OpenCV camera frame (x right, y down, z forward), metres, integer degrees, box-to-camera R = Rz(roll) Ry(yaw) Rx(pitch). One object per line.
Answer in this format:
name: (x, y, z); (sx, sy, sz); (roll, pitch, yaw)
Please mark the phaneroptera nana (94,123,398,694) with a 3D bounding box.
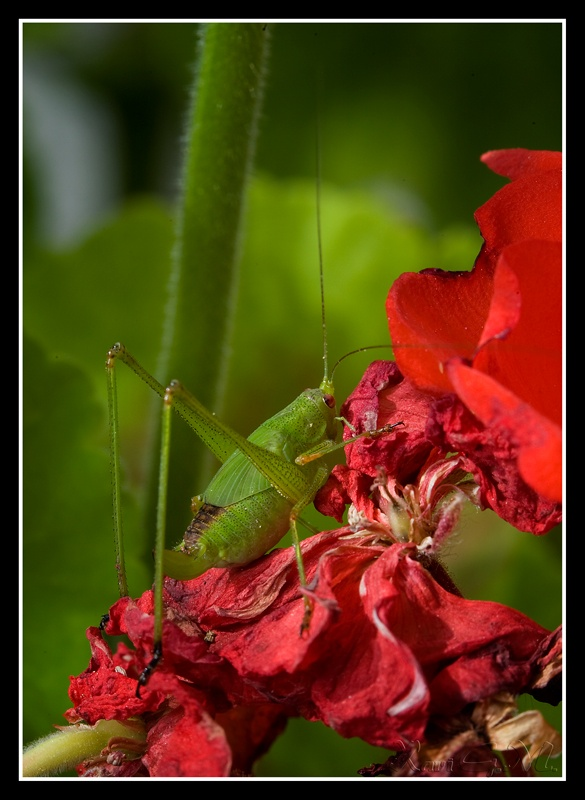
phaneroptera nana: (-0.065, 0.051, 1.444); (0.607, 0.659, 0.358); (-11, 29, -16)
